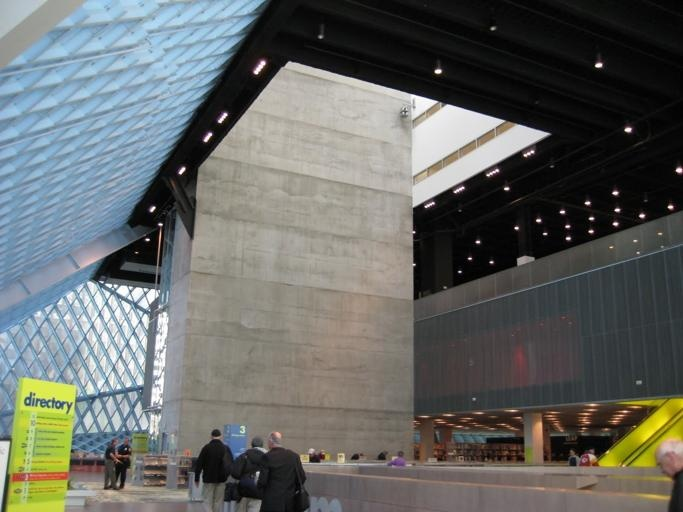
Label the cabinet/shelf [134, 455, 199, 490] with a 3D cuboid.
[{"bbox_3d":[-6.678,7.952,23.572,2.571,1.155,0.867,-15,-26,40],"label":"cabinet/shelf"}]
